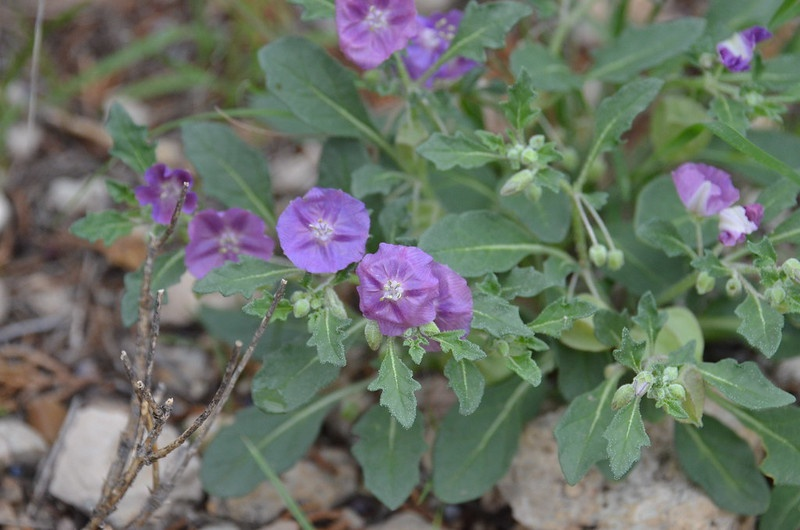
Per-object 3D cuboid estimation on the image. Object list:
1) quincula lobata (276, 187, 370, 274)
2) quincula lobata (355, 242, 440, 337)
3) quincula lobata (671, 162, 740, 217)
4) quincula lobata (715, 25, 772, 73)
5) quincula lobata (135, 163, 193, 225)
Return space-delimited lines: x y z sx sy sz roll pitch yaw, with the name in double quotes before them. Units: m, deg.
"quincula lobata" -0.240 -0.142 2.134 0.258 0.302 0.108 0 84 16
"quincula lobata" -0.017 0.097 2.016 0.229 0.083 0.265 -5 18 0
"quincula lobata" 0.947 -0.199 2.208 0.202 0.254 0.122 23 94 31
"quincula lobata" 1.051 -0.658 2.221 0.066 0.119 0.152 -1 32 -10
"quincula lobata" -0.741 -0.233 2.235 0.191 0.216 0.098 9 20 4
